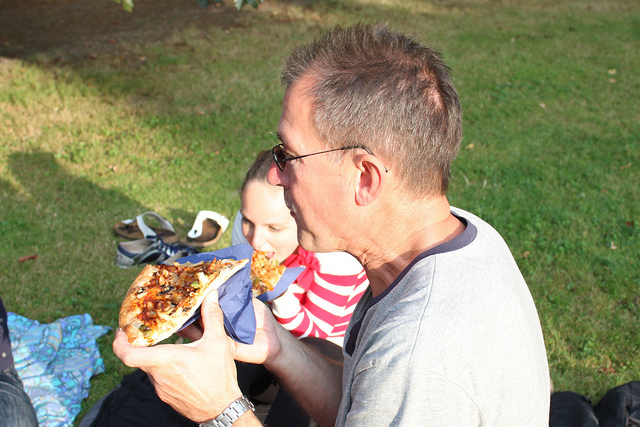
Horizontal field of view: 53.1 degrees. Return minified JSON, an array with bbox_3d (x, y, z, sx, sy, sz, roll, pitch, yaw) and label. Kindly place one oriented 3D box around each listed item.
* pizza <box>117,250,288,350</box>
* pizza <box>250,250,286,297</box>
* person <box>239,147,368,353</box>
[{"bbox_3d":[-1.185,0.632,5.813,1.272,0.286,0.872,-30,33,-24],"label":"pizza"},{"bbox_3d":[-0.505,0.560,6.070,0.197,0.442,0.278,16,23,42],"label":"pizza"},{"bbox_3d":[-0.168,0.470,6.197,1.212,1.720,1.005,-14,22,-19],"label":"person"}]
